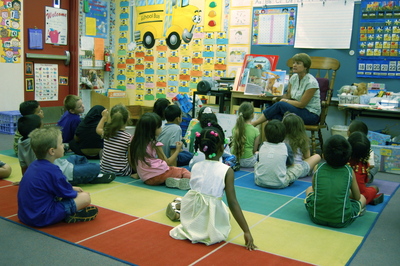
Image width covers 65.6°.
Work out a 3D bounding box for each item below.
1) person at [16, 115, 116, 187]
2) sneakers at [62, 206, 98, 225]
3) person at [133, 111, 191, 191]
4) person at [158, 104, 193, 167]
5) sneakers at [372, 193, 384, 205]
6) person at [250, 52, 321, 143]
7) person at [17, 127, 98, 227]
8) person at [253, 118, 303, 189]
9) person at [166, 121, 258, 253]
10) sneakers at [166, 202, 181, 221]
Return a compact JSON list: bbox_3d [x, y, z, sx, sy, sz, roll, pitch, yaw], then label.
[{"bbox_3d":[-1.707,0.113,3.600,0.580,0.836,1.114,-17,24,-41],"label":"person"},{"bbox_3d":[-1.054,0.700,2.750,0.302,0.136,0.100,-18,15,-26],"label":"sneakers"},{"bbox_3d":[-0.439,0.206,3.767,0.779,0.786,0.629,2,-6,-26],"label":"person"},{"bbox_3d":[-0.297,0.043,4.124,0.565,0.884,0.641,1,18,-5],"label":"person"},{"bbox_3d":[1.893,0.711,3.298,0.101,0.088,0.144,-1,7,33],"label":"sneakers"},{"bbox_3d":[1.212,-0.605,4.707,1.266,0.999,0.574,-11,20,-13],"label":"person"},{"bbox_3d":[-1.370,0.338,2.950,0.778,0.978,0.749,8,7,41],"label":"person"},{"bbox_3d":[1.002,0.225,3.860,0.641,0.788,0.765,4,12,15],"label":"person"},{"bbox_3d":[0.112,0.413,2.460,0.702,0.899,0.319,4,13,10],"label":"person"},{"bbox_3d":[-0.226,0.712,2.843,0.148,0.148,0.144,3,0,26],"label":"sneakers"}]
